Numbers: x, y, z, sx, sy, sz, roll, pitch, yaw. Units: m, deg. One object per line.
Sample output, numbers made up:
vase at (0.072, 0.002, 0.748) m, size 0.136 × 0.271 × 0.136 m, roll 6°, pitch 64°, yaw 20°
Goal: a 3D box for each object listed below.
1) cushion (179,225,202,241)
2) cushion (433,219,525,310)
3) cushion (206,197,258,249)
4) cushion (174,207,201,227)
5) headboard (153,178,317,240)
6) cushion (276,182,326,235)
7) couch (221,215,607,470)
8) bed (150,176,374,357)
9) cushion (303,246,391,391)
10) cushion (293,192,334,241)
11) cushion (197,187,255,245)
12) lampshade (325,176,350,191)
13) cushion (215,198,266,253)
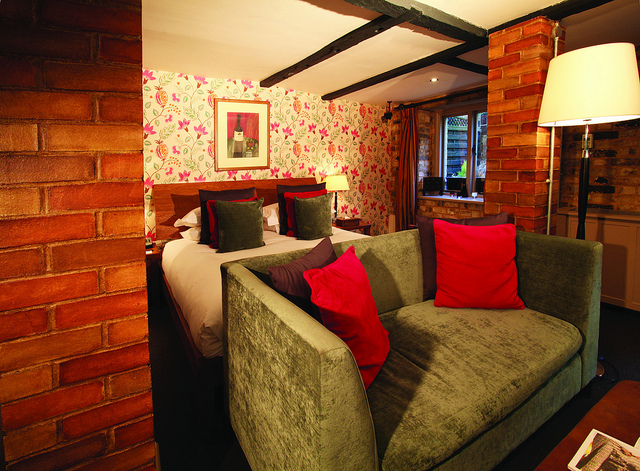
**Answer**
cushion at (-1.287, -0.030, 4.258) m, size 0.163 × 0.047 × 0.162 m, roll -24°, pitch 34°, yaw -34°
cushion at (0.993, 0.193, 2.665) m, size 0.562 × 0.543 × 0.212 m, roll 0°, pitch -7°, yaw 5°
cushion at (-0.771, -0.101, 3.787) m, size 0.406 × 0.458 × 0.160 m, roll -8°, pitch 9°, yaw -32°
cushion at (-1.326, -0.165, 4.266) m, size 0.242 × 0.206 × 0.073 m, roll -25°, pitch -28°, yaw 6°
headboard at (-0.972, -0.377, 5.133) m, size 2.103 × 0.693 × 0.545 m, roll -7°, pitch 18°, yaw -32°
cushion at (-0.241, -0.293, 4.514) m, size 0.165 × 0.526 × 0.575 m, roll -10°, pitch -5°, yaw 37°
couch at (0.544, 0.525, 2.354) m, size 1.890 × 1.083 × 1.014 m, roll -9°, pitch 12°, yaw -32°
bed at (-0.791, -0.044, 3.973) m, size 1.654 × 0.673 × 1.590 m, roll -7°, pitch 17°, yaw -28°
cushion at (0.116, 0.383, 1.993) m, size 0.301 × 0.560 × 0.622 m, roll 0°, pitch 7°, yaw 28°
cushion at (-0.047, -0.192, 4.301) m, size 0.504 × 0.463 × 0.182 m, roll -10°, pitch 15°, yaw -31°
cushion at (-0.884, -0.244, 4.194) m, size 0.678 × 0.497 × 0.240 m, roll -11°, pitch -16°, yaw 20°
lampshade at (0.205, -0.653, 5.338) m, size 0.278 × 0.147 × 0.273 m, roll -1°, pitch 11°, yaw 1°
cushion at (-0.707, -0.078, 3.768) m, size 0.446 × 0.416 × 0.159 m, roll -8°, pitch -1°, yaw -27°
